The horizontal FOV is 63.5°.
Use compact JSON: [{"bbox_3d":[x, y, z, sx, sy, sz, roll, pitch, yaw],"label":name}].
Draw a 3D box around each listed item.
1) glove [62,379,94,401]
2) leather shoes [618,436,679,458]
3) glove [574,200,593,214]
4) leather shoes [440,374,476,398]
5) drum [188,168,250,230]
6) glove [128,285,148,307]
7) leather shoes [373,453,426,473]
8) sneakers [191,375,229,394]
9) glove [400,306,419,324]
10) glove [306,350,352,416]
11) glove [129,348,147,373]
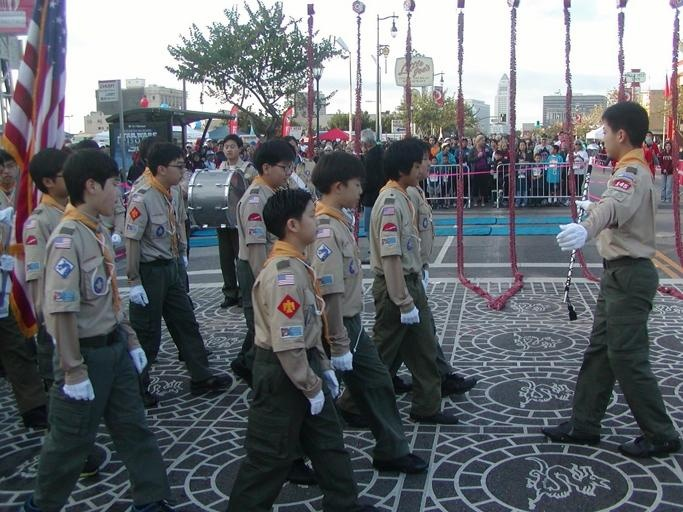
[{"bbox_3d":[-1.591,0.810,3.335,0.165,0.145,0.078,-8,12,-26],"label":"glove"},{"bbox_3d":[2.272,1.409,4.070,0.318,0.140,0.188,0,-2,12],"label":"leather shoes"},{"bbox_3d":[1.847,-0.387,4.202,0.070,0.099,0.168,32,17,37],"label":"glove"},{"bbox_3d":[1.069,1.182,5.159,0.408,0.208,0.162,-6,3,-4],"label":"leather shoes"},{"bbox_3d":[-1.839,-0.811,8.002,0.590,0.873,0.864,-1,-1,2],"label":"drum"},{"bbox_3d":[-1.897,0.342,5.158,0.140,0.199,0.082,-6,19,10],"label":"glove"},{"bbox_3d":[0.436,1.507,4.084,0.406,0.189,0.156,-1,10,6],"label":"leather shoes"},{"bbox_3d":[-1.322,1.288,5.576,0.336,0.154,0.179,-7,5,-16],"label":"sneakers"},{"bbox_3d":[0.540,0.469,4.371,0.117,0.136,0.140,2,4,39],"label":"glove"},{"bbox_3d":[-0.087,0.795,3.338,0.187,0.268,0.110,4,-13,-36],"label":"glove"},{"bbox_3d":[-1.362,0.710,3.730,0.052,0.153,0.145,-8,15,-6],"label":"glove"}]
